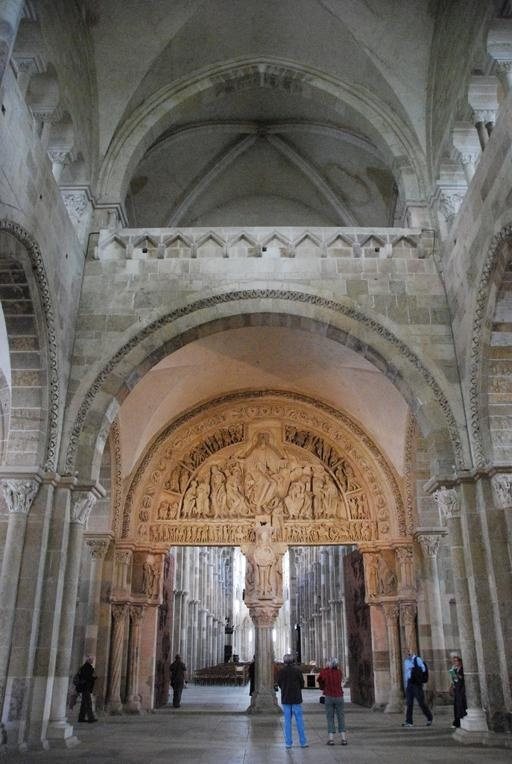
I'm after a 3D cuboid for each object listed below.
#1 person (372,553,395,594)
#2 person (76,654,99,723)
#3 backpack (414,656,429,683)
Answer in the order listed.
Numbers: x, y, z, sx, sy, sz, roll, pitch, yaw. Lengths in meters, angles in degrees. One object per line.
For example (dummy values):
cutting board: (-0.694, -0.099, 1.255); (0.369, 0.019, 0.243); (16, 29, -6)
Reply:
person: (2.553, 3.785, 11.485); (0.417, 0.832, 0.421); (-1, -20, -3)
person: (-2.579, 4.634, 8.733); (0.324, 0.932, 0.782); (3, -21, -14)
backpack: (2.291, 4.029, 8.103); (0.156, 0.368, 0.453); (-10, -21, 21)
